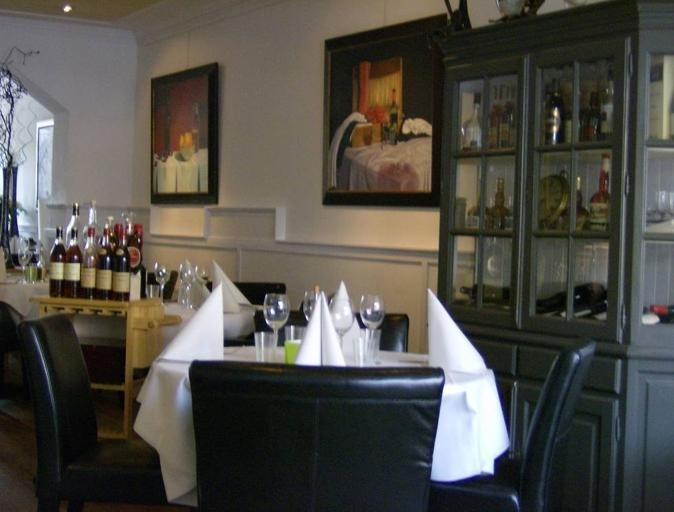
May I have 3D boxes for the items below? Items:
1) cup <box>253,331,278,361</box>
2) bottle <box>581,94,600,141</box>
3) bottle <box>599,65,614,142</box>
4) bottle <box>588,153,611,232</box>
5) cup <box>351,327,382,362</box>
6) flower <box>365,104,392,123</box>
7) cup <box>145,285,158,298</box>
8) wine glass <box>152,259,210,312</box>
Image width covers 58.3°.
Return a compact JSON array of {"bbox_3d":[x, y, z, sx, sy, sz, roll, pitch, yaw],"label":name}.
[{"bbox_3d":[-0.300,0.367,2.564,0.097,0.185,0.113,1,-1,-17],"label":"cup"},{"bbox_3d":[1.256,-0.694,2.997,0.090,0.230,0.017,1,2,34],"label":"bottle"},{"bbox_3d":[1.311,-0.744,2.929,0.018,0.340,0.076,-1,3,-38],"label":"bottle"},{"bbox_3d":[1.285,-0.315,2.961,0.100,0.366,0.025,2,3,44],"label":"bottle"},{"bbox_3d":[0.114,0.373,2.469,0.124,0.162,0.137,0,0,-5],"label":"cup"},{"bbox_3d":[0.336,-1.188,5.062,0.142,0.144,0.152,5,11,24],"label":"flower"},{"bbox_3d":[-1.250,0.238,4.096,0.076,0.093,0.073,1,0,0],"label":"cup"},{"bbox_3d":[-1.164,0.230,4.514,0.292,0.432,0.307,0,-2,-19],"label":"wine glass"}]
